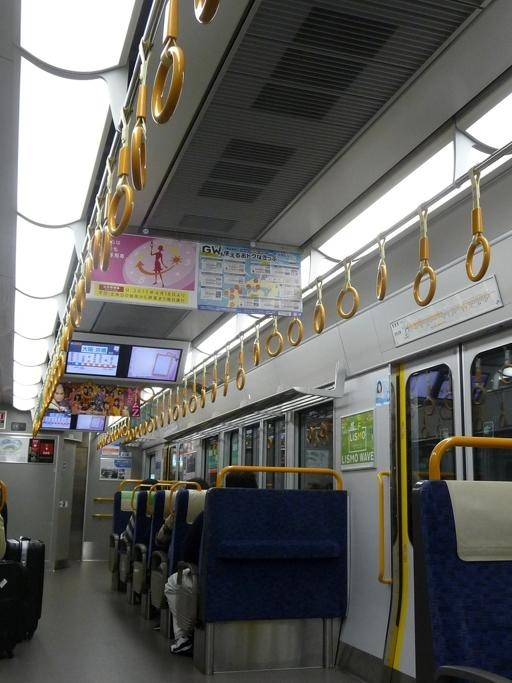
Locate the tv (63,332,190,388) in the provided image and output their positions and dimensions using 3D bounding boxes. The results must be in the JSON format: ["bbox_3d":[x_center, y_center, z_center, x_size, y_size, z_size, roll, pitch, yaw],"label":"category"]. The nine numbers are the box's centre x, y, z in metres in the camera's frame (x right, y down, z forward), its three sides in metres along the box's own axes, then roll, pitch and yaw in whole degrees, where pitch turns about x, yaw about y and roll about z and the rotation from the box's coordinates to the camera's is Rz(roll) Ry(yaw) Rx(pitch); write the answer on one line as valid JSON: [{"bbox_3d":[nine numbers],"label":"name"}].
[{"bbox_3d":[-2.841,0.383,10.020,2.513,1.094,0.513,9,-12,-24],"label":"tv"}]

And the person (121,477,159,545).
[{"bbox_3d":[-2.506,3.415,9.922,0.464,0.585,0.717,12,6,-35],"label":"person"}]
